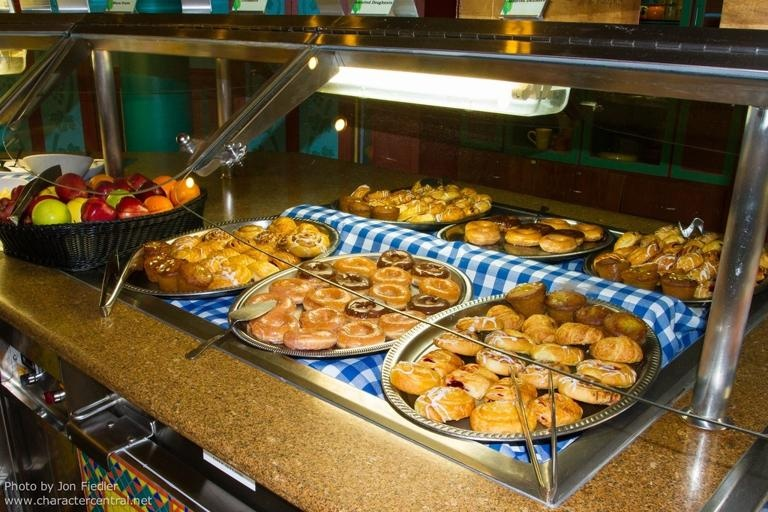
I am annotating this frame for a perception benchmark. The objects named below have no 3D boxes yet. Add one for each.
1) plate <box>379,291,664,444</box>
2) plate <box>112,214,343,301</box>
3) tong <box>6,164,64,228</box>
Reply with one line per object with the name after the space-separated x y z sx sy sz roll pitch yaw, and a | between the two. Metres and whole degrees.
0.240 0.245 1.097 0.598 0.049 0.529 -8 15 0 | plate
-0.434 -0.001 1.374 0.455 0.045 0.306 -11 20 -26 | plate
-1.053 -0.183 1.550 0.063 0.230 0.050 50 15 13 | tong
